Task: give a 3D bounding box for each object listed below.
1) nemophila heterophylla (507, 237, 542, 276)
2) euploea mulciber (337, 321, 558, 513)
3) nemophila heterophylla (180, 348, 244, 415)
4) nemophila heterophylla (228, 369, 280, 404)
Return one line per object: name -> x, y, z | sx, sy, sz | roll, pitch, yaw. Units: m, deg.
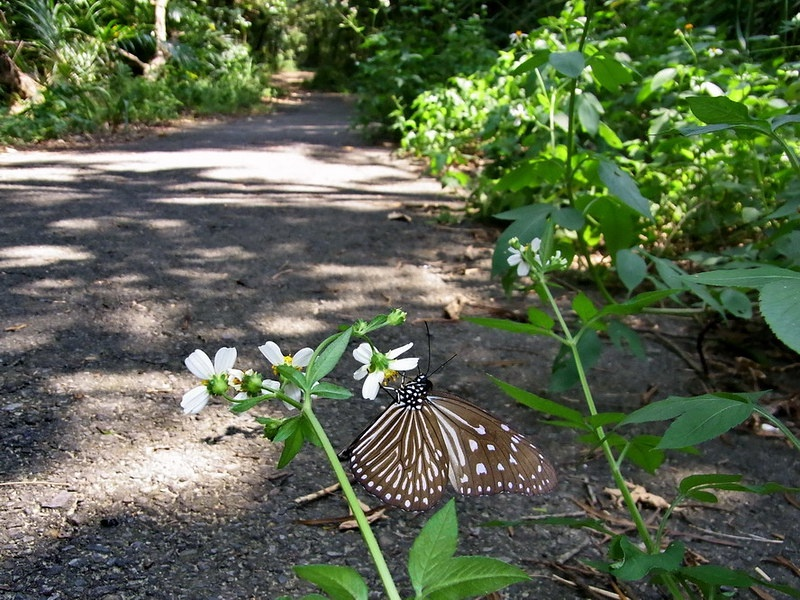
nemophila heterophylla -> 0.473, -0.154, 2.813 | 0.113, 0.204, 0.262 | 5, 23, 8
euploea mulciber -> 0.179, 0.595, 2.728 | 0.750, 0.638, 0.264 | 0, 27, -2
nemophila heterophylla -> -0.611, 0.253, 2.379 | 0.180, 0.232, 0.254 | -5, 24, -11
nemophila heterophylla -> -0.462, 0.276, 2.338 | 0.144, 0.044, 0.121 | 2, 15, 0
